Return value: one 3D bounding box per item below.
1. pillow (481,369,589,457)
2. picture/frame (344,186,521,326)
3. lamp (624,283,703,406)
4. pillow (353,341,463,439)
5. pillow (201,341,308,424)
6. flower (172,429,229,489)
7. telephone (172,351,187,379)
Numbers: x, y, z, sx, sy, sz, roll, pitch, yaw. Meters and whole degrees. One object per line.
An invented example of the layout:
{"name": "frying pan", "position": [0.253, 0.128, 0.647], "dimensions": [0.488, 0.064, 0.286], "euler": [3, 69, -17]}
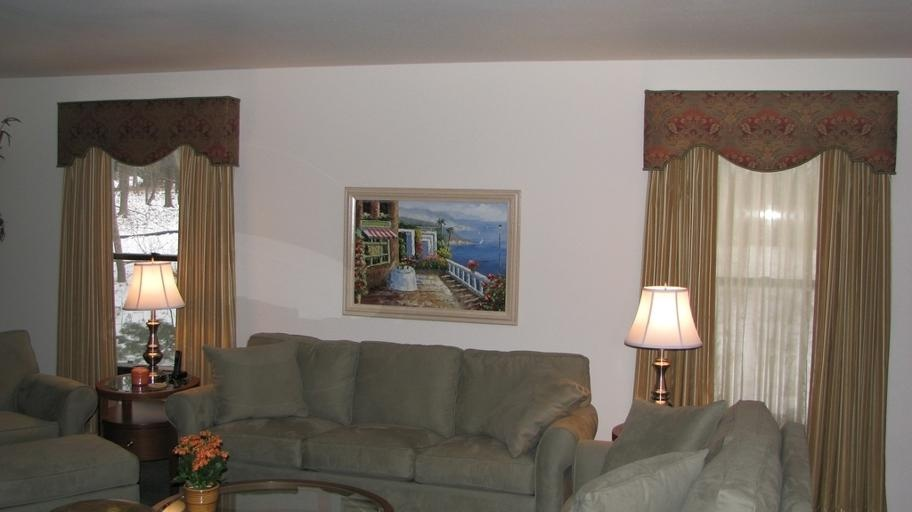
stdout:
{"name": "pillow", "position": [0.739, 1.461, 6.435], "dimensions": [0.956, 0.697, 0.436], "euler": [1, 1, 3]}
{"name": "picture/frame", "position": [-0.175, -0.022, 7.443], "dimensions": [1.593, 1.089, 0.065], "euler": [1, 0, 11]}
{"name": "lamp", "position": [1.885, 0.834, 6.383], "dimensions": [0.595, 1.095, 1.012], "euler": [2, 1, 35]}
{"name": "pillow", "position": [-0.499, 1.343, 7.075], "dimensions": [1.222, 0.833, 0.510], "euler": [0, 12, 25]}
{"name": "pillow", "position": [-1.986, 1.248, 6.971], "dimensions": [0.911, 0.738, 0.431], "euler": [-4, 4, -29]}
{"name": "flower", "position": [-2.161, 1.746, 5.769], "dimensions": [0.444, 0.512, 0.518], "euler": [-7, -10, -18]}
{"name": "telephone", "position": [-2.958, 1.185, 7.498], "dimensions": [0.151, 0.262, 0.272], "euler": [2, -4, -14]}
